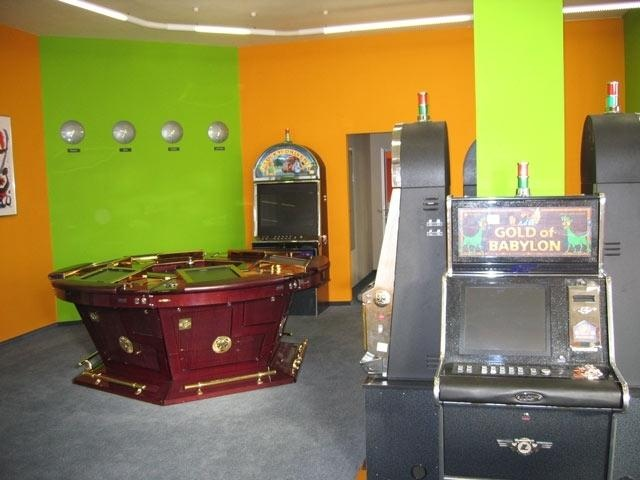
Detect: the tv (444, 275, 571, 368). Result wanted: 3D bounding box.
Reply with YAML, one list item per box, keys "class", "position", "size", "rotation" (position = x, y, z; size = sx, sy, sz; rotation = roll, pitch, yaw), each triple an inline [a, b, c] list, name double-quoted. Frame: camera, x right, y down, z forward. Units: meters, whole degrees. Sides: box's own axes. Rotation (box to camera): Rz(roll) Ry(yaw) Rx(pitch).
- class: "tv"
  position: [1.091, 0.452, 2.758]
  size: [0.424, 0.453, 0.745]
  rotation: [15, -16, -41]

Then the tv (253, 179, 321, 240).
- class: "tv"
  position: [-0.376, -0.346, 7.551]
  size: [1.181, 0.949, 0.804]
  rotation: [0, -2, 10]
